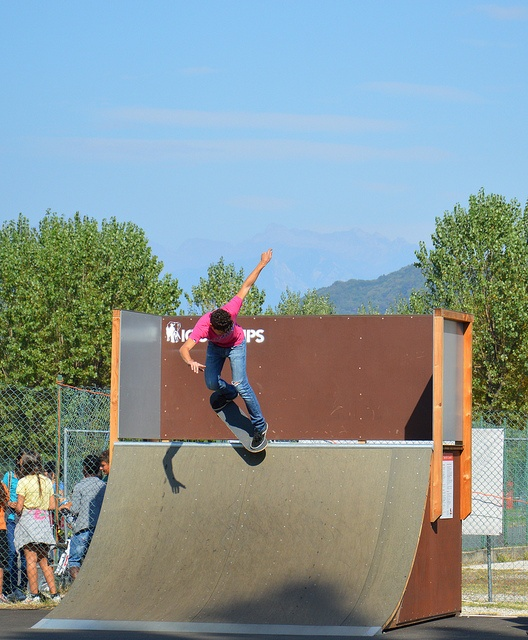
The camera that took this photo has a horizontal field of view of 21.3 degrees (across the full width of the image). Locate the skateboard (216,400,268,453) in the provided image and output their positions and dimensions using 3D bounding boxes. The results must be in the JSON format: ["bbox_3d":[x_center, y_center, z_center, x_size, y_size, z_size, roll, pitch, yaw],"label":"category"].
[{"bbox_3d":[-0.262,1.254,16.711,0.279,0.188,1.164,-27,46,-10],"label":"skateboard"}]

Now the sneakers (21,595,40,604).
[{"bbox_3d":[-2.818,3.386,17.121,0.224,0.144,0.094,7,2,7],"label":"sneakers"}]

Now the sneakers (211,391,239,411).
[{"bbox_3d":[-0.465,0.942,16.791,0.164,0.194,0.430,-19,6,42],"label":"sneakers"}]

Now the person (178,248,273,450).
[{"bbox_3d":[-0.355,0.379,16.099,0.702,2.042,1.338,1,29,16],"label":"person"}]

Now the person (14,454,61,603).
[{"bbox_3d":[-2.787,2.554,17.386,0.550,1.576,0.753,1,0,-19],"label":"person"}]

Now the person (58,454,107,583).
[{"bbox_3d":[-2.232,2.512,17.741,0.544,1.348,2.369,1,0,-8],"label":"person"}]

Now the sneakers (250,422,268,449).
[{"bbox_3d":[-0.026,1.312,16.567,0.097,0.152,0.385,3,49,11],"label":"sneakers"}]
